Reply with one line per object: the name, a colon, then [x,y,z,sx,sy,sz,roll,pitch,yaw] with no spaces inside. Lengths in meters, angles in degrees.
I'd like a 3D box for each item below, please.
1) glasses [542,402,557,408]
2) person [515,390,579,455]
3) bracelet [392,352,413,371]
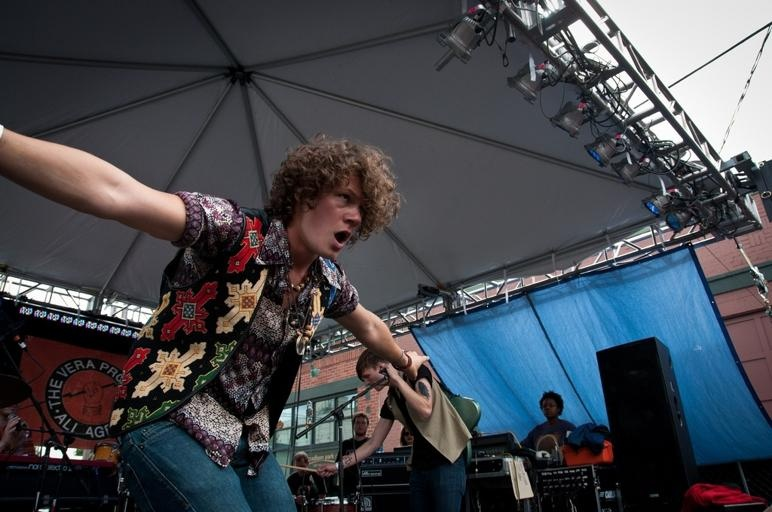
glasses: [2.521,2.316,8.734,0.112,0.051,0.135,-1,-27,22]
person: [2.546,2.631,8.747,0.958,1.022,0.387,-13,-42,33]
bracelet: [0.125,0.823,4.393,0.071,0.116,0.154,28,1,39]
